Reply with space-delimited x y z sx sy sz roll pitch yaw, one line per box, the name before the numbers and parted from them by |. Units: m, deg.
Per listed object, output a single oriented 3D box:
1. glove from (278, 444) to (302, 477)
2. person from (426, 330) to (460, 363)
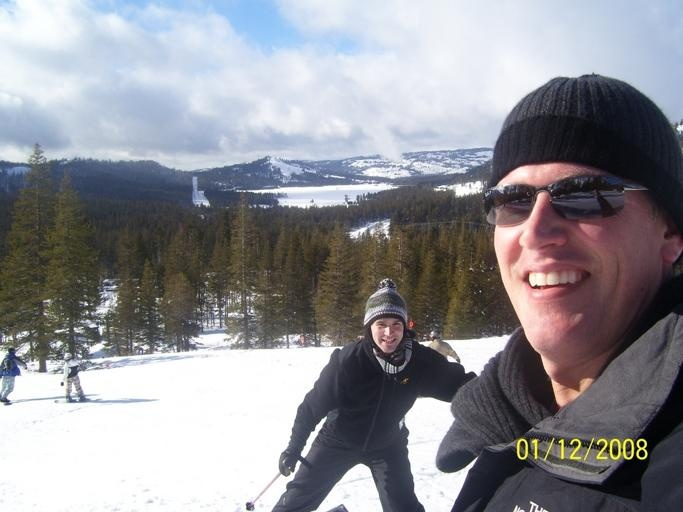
glove | -0.867 3.275 10.190 0.339 0.476 0.164 28 5 -21
person | 2.994 2.575 18.433 0.621 0.433 1.329 -9 -40 38
